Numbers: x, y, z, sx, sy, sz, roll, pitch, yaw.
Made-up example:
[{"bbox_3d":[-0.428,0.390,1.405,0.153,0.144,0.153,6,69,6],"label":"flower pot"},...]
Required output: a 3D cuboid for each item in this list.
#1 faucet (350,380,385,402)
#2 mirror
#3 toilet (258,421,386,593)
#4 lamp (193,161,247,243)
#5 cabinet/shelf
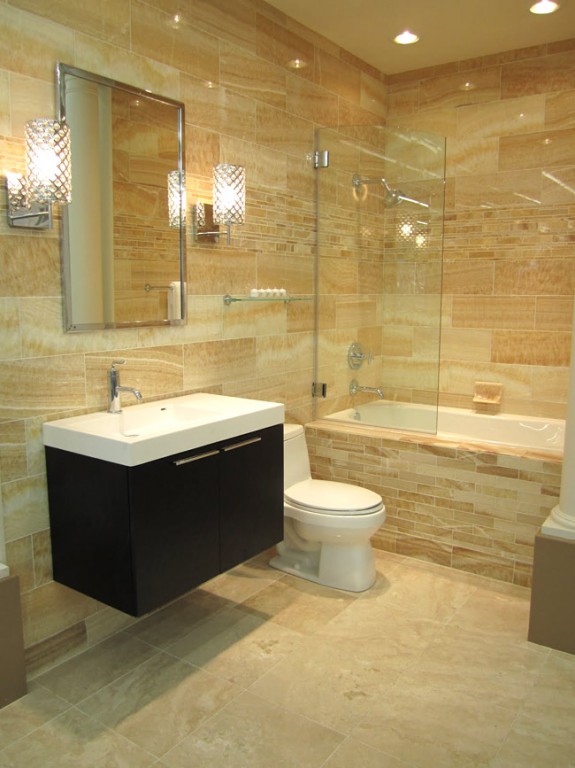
[{"bbox_3d":[0.440,0.035,3.191,0.158,0.090,0.090,9,13,36],"label":"faucet"},{"bbox_3d":[-0.579,-0.641,2.091,0.053,0.895,0.602,3,5,30],"label":"mirror"},{"bbox_3d":[0.217,0.572,2.886,0.751,0.809,0.466,4,12,28],"label":"toilet"},{"bbox_3d":[-0.255,-0.752,2.468,0.201,0.296,0.258,2,5,21],"label":"lamp"},{"bbox_3d":[-0.412,0.416,2.043,0.449,0.485,0.727,4,5,35],"label":"cabinet/shelf"}]
